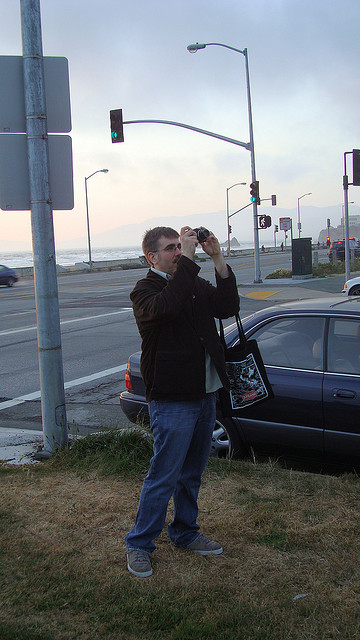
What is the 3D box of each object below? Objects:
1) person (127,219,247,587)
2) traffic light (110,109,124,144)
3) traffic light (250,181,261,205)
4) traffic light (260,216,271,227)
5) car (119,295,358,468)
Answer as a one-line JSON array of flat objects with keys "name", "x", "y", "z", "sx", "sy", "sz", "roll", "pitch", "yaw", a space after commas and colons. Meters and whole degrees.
[{"name": "person", "x": -0.003, "y": 0.402, "z": 2.580, "sx": 0.430, "sy": 1.364, "sz": 0.576, "roll": -1, "pitch": 1, "yaw": 32}, {"name": "traffic light", "x": -2.748, "y": -8.384, "z": 21.542, "sx": 0.495, "sy": 1.251, "sz": 0.785, "roll": -1, "pitch": 1, "yaw": -5}, {"name": "traffic light", "x": 3.808, "y": -6.570, "z": 25.389, "sx": 0.349, "sy": 0.737, "sz": 0.634, "roll": -1, "pitch": 1, "yaw": 19}, {"name": "traffic light", "x": 4.534, "y": -5.255, "z": 26.551, "sx": 0.547, "sy": 0.594, "sz": 0.762, "roll": -1, "pitch": 1, "yaw": 5}, {"name": "car", "x": 0.985, "y": 0.473, "z": 4.166, "sx": 2.276, "sy": 0.877, "sz": 1.036, "roll": -5, "pitch": 0, "yaw": 20}]
